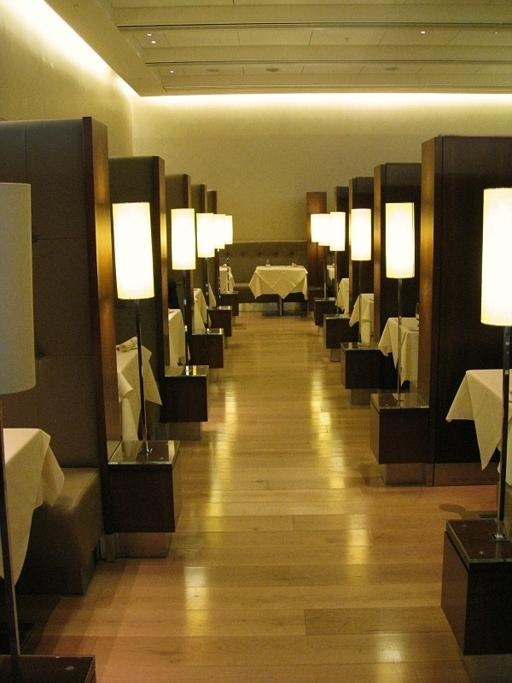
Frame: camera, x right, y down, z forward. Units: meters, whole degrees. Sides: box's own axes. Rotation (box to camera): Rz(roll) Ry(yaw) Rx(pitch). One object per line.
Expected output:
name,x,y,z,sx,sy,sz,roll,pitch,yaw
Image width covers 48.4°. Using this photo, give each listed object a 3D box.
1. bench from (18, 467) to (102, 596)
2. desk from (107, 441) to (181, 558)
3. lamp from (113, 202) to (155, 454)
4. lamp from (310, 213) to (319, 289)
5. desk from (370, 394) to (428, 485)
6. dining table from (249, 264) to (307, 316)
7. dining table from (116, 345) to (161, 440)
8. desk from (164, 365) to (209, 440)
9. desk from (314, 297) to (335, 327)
bench,-0.761,0.734,2.230,0.264,0.342,0.438,0,1,1
desk,-0.532,0.536,2.663,0.275,0.462,0.600,-4,33,-12
lamp,-0.529,-0.053,2.512,0.167,1.086,0.285,-2,6,-15
lamp,1.097,-1.628,10.283,0.155,1.360,0.179,-6,7,-9
desk,0.792,0.429,3.367,0.306,0.622,0.558,0,6,3
dining table,0.402,-1.008,9.853,0.734,0.772,0.894,-1,17,2
dining table,-0.712,0.284,3.262,0.154,0.390,0.715,-7,15,2
desk,-0.591,0.514,4.234,0.321,0.513,0.614,-1,-4,-18
desk,0.931,-0.440,7.781,0.312,0.418,0.270,2,13,9
